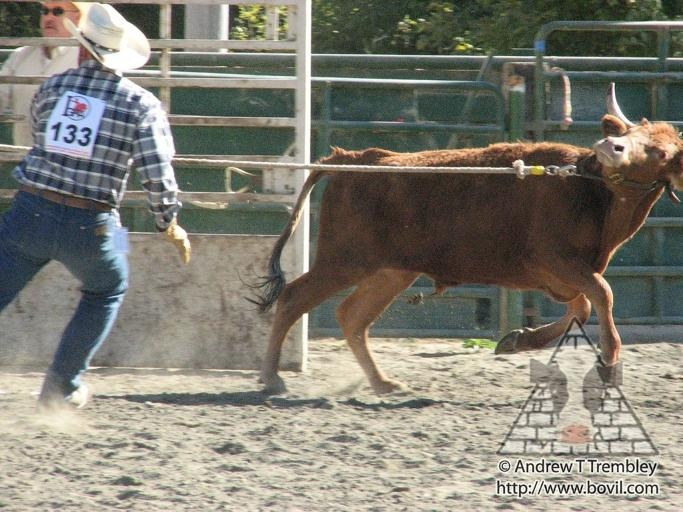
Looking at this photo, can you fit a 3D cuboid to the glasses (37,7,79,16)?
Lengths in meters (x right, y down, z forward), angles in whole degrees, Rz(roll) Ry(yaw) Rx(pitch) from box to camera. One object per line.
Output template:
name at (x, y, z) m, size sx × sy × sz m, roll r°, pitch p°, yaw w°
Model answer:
glasses at (-2.312, -1.972, 11.833) m, size 0.154 × 0.034 × 0.165 m, roll 5°, pitch 5°, yaw 45°
